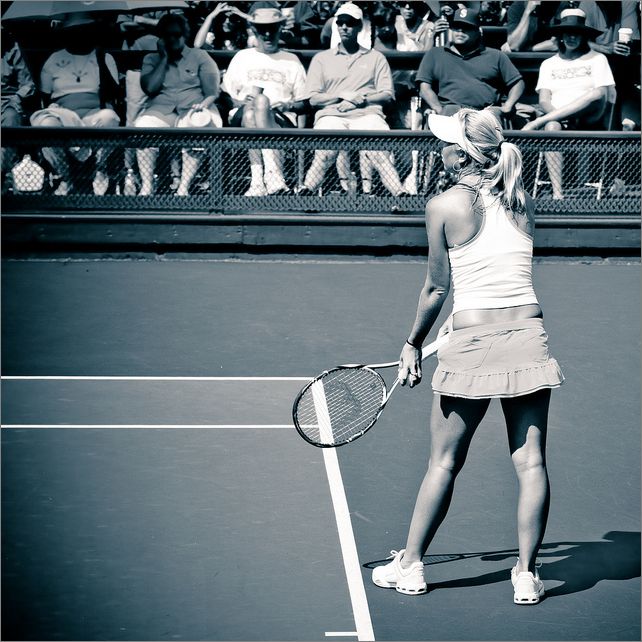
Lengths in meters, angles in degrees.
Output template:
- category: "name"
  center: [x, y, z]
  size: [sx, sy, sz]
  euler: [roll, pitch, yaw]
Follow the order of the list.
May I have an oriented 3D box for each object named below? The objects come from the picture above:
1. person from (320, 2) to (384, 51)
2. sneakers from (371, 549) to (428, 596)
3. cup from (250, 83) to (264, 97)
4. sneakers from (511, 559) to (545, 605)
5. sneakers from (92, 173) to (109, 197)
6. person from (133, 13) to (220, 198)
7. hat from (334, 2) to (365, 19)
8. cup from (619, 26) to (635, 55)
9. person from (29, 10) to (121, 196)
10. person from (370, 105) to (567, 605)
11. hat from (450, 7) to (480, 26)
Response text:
- category: "person"
  center: [0.350, -3.060, 13.090]
  size: [0.646, 0.846, 0.327]
  euler: [1, 8, 4]
- category: "sneakers"
  center: [0.399, 1.253, 6.135]
  size: [0.138, 0.173, 0.324]
  euler: [7, -4, -28]
- category: "cup"
  center: [-0.655, -2.311, 12.556]
  size: [0.135, 0.116, 0.182]
  euler: [0, 9, 3]
- category: "sneakers"
  center: [1.015, 1.281, 6.084]
  size: [0.100, 0.112, 0.251]
  euler: [-3, 12, 6]
- category: "sneakers"
  center: [-2.132, -1.312, 12.026]
  size: [0.126, 0.200, 0.084]
  euler: [0, 1, 2]
- category: "person"
  center: [-1.429, -2.161, 12.422]
  size: [0.846, 1.785, 1.306]
  euler: [-1, 9, -7]
- category: "hat"
  center: [0.278, -3.067, 12.367]
  size: [0.242, 0.173, 0.318]
  euler: [-1, 9, -5]
- category: "cup"
  center: [3.220, -2.983, 13.194]
  size: [0.206, 0.192, 0.204]
  euler: [1, -7, 0]
- category: "person"
  center: [-2.468, -2.205, 12.523]
  size: [0.846, 1.836, 1.499]
  euler: [-2, 9, -9]
- category: "person"
  center: [0.750, 0.177, 6.043]
  size: [0.832, 2.375, 0.379]
  euler: [1, 9, 10]
- category: "hat"
  center: [1.420, -2.982, 12.286]
  size: [0.274, 0.175, 0.226]
  euler: [1, 9, 4]
